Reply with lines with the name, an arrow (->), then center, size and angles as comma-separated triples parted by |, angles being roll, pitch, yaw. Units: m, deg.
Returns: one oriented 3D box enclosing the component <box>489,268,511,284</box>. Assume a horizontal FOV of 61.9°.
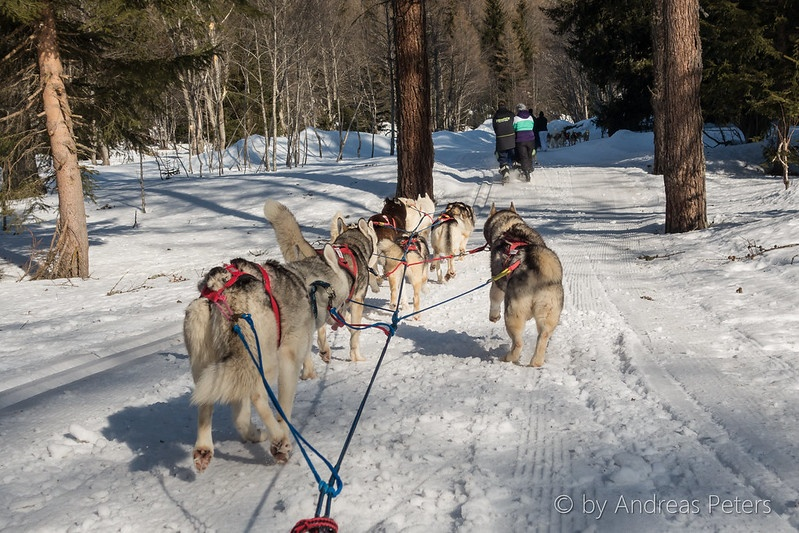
component -> 1.578, 0.156, 10.350 | 0.108, 0.211, 0.560 | 9, -30, -13
